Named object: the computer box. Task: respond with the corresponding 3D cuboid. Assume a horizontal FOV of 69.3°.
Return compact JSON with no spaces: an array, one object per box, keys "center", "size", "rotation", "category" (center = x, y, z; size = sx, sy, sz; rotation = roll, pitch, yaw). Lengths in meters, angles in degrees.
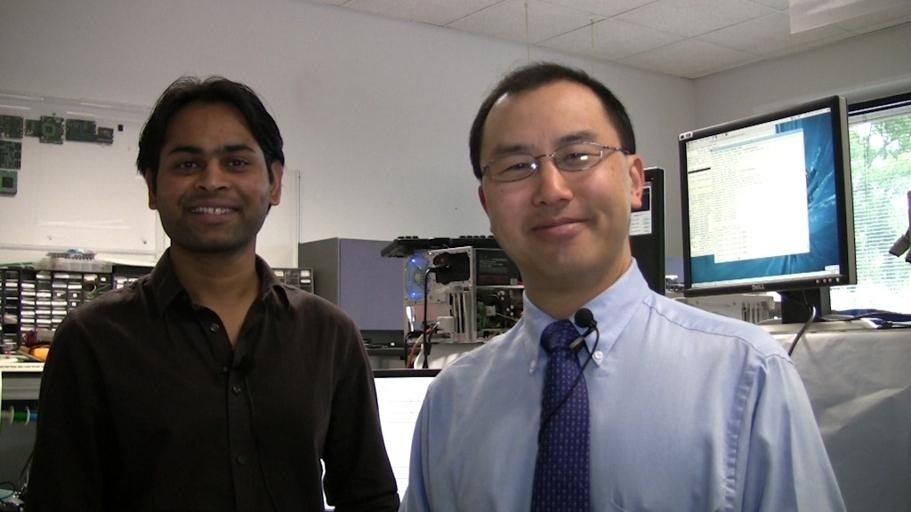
[{"center":[0.037,0.210,3.260],"size":[0.570,0.353,0.589],"rotation":[2,-7,-22],"category":"computer box"}]
